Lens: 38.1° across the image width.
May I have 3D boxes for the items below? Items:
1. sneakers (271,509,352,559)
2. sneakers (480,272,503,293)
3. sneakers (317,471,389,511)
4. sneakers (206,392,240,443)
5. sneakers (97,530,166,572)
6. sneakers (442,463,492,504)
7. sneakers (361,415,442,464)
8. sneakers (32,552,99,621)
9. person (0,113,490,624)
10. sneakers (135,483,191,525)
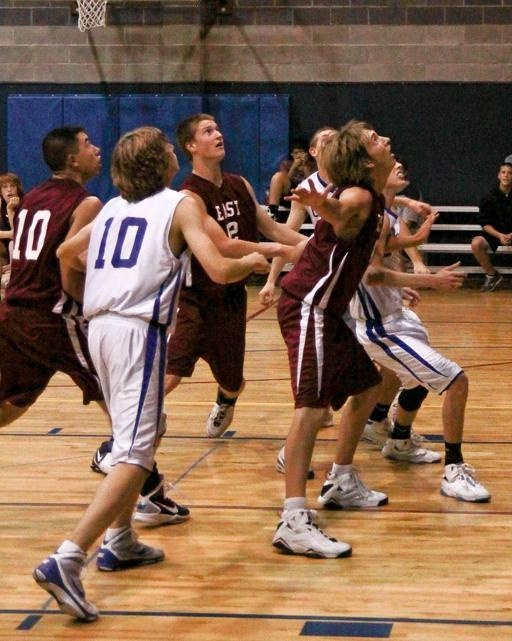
[{"bbox_3d":[0.168,0.704,2.466,0.339,0.167,0.110,3,-5,8],"label":"sneakers"},{"bbox_3d":[3.191,-0.512,10.076,0.354,0.170,0.117,-41,29,-11],"label":"sneakers"},{"bbox_3d":[0.341,0.650,2.867,0.354,0.185,0.108,-1,2,-7],"label":"sneakers"},{"bbox_3d":[-0.191,0.490,3.801,0.113,0.274,0.127,6,10,-16],"label":"sneakers"},{"bbox_3d":[-0.394,0.710,2.347,0.082,0.131,0.248,-8,-9,42],"label":"sneakers"},{"bbox_3d":[0.802,0.635,2.948,0.098,0.108,0.236,5,-4,-37],"label":"sneakers"},{"bbox_3d":[0.744,0.587,3.547,0.461,0.258,0.138,6,18,0],"label":"sneakers"},{"bbox_3d":[-0.484,0.689,1.908,0.078,0.212,0.149,4,8,32],"label":"sneakers"},{"bbox_3d":[-0.101,0.052,2.348,0.674,1.435,1.463,5,9,40],"label":"person"},{"bbox_3d":[-0.341,0.668,2.733,0.100,0.161,0.273,-8,-14,31],"label":"sneakers"}]
